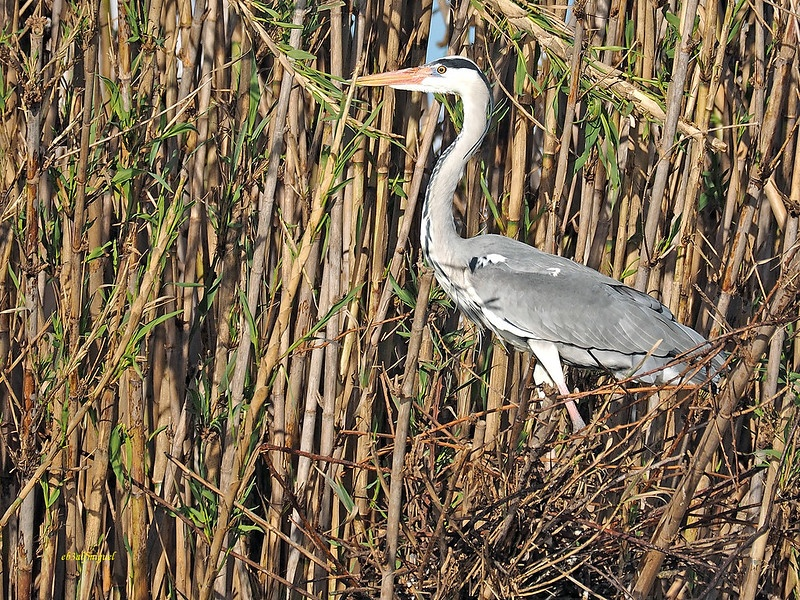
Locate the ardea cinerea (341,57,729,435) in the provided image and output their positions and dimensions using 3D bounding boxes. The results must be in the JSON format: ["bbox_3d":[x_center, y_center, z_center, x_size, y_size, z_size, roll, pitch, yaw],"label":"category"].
[{"bbox_3d":[0.469,-0.200,4.765,0.948,1.423,0.392,-11,28,-2],"label":"ardea cinerea"}]
